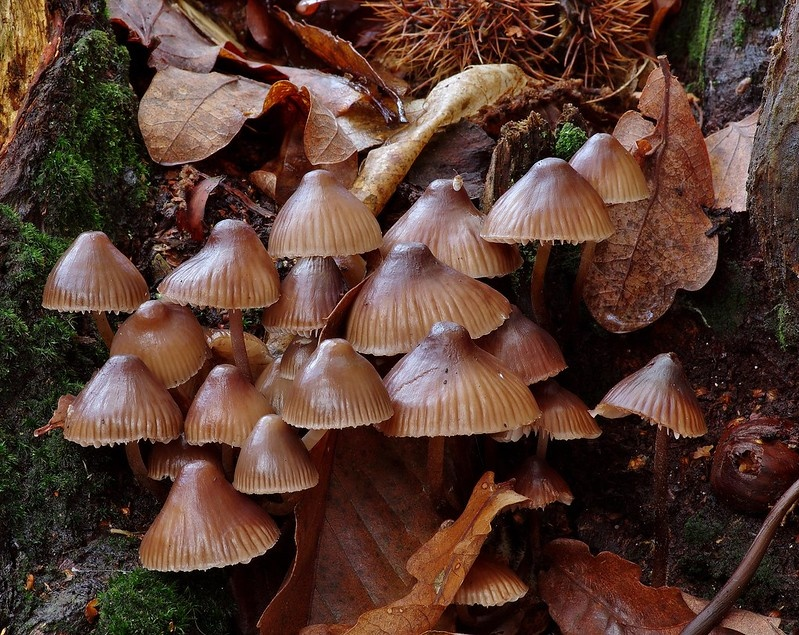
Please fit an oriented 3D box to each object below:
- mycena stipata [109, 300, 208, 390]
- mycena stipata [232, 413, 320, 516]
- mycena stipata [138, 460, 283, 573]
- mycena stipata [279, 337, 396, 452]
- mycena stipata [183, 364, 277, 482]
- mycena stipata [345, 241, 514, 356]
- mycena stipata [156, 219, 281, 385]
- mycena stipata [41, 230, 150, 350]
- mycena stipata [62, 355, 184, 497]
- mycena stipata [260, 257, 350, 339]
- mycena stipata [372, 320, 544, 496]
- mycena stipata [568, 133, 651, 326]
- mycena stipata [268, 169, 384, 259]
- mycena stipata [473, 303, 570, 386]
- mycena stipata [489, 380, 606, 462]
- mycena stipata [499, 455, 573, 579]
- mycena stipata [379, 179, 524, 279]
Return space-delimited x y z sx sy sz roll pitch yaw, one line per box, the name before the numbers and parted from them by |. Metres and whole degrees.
mycena stipata | -1.032 0.117 4.104 0.339 0.422 0.408 -9 43 -4
mycena stipata | -0.539 0.584 4.030 0.370 0.387 0.346 1 91 30
mycena stipata | -0.832 0.809 4.060 0.593 0.695 0.419 1 97 16
mycena stipata | -0.283 0.289 3.994 0.497 0.496 0.387 -8 82 41
mycena stipata | -0.776 0.452 4.129 0.372 0.418 0.487 4 101 0
mycena stipata | 0.081 -0.075 3.980 0.504 0.271 0.525 12 40 44
mycena stipata | -0.815 -0.137 4.155 0.433 0.680 0.495 -20 30 -35
mycena stipata | -1.392 -0.121 4.205 0.369 0.476 0.376 18 40 31
mycena stipata | -1.168 0.466 4.035 0.354 0.364 0.480 16 98 -10
mycena stipata | -0.399 -0.117 4.224 0.319 0.278 0.486 17 37 22
mycena stipata | 0.254 0.290 3.859 0.658 0.253 0.457 6 66 6
mycena stipata | 1.008 -0.409 4.391 0.375 0.817 0.383 -22 45 -15
mycena stipata | -0.320 -0.409 4.032 0.375 0.391 0.286 -2 102 38
mycena stipata | 0.540 0.134 4.361 0.457 0.450 0.331 -8 93 -21
mycena stipata | 0.701 0.483 4.346 0.339 0.349 0.392 5 96 -33
mycena stipata | 0.684 0.918 4.498 0.301 0.299 0.501 -7 98 24
mycena stipata | 0.250 -0.383 4.230 0.455 0.308 0.517 7 28 6
